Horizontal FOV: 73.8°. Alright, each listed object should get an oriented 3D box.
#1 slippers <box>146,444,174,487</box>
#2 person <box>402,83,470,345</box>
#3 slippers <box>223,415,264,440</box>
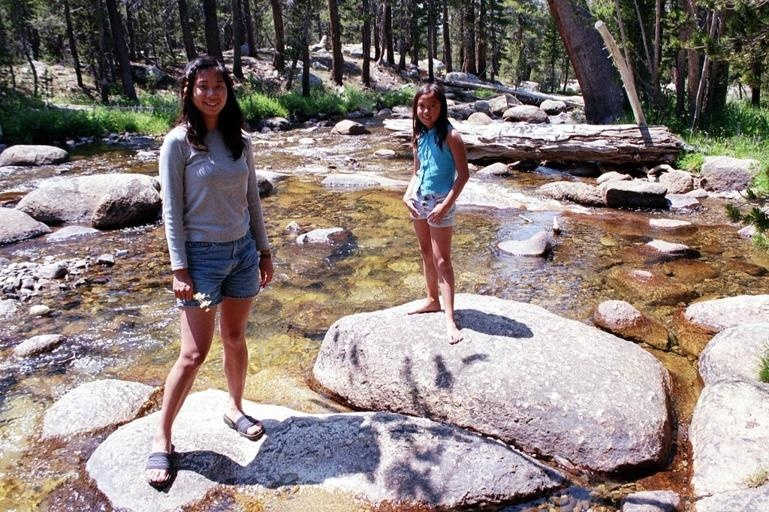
[{"bbox_3d":[-1.908,1.794,4.350,0.136,0.105,0.384,-1,46,-17],"label":"slippers"},{"bbox_3d":[0.544,-0.474,5.356,0.600,2.517,0.995,-6,20,-10],"label":"person"},{"bbox_3d":[-1.290,1.550,4.730,0.325,0.104,0.161,20,33,27],"label":"slippers"}]
